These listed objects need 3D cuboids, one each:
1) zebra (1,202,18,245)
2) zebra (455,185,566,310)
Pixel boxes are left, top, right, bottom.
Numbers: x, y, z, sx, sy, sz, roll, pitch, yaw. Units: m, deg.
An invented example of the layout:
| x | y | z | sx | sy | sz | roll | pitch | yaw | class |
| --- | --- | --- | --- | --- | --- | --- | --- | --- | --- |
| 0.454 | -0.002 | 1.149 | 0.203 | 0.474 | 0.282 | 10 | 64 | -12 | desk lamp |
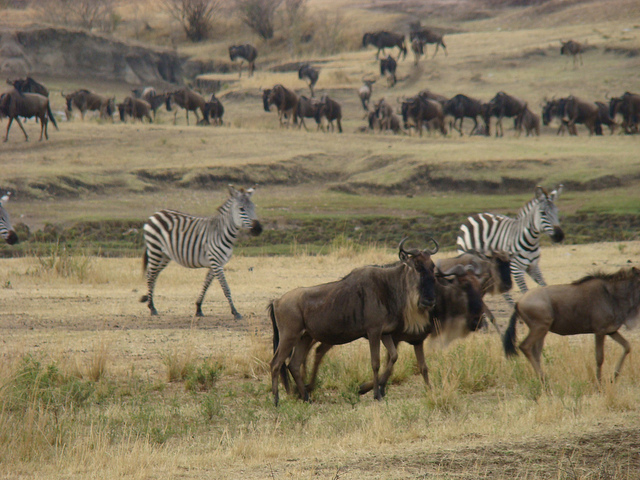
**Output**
| x | y | z | sx | sy | sz | roll | pitch | yaw | class |
| --- | --- | --- | --- | --- | --- | --- | --- | --- | --- |
| -17.781 | -0.761 | 88.798 | 0.853 | 2.141 | 0.632 | -2 | 6 | 5 | zebra |
| 10.437 | -0.454 | 87.976 | 4.675 | 7.516 | 5.282 | 4 | 12 | -4 | zebra |
